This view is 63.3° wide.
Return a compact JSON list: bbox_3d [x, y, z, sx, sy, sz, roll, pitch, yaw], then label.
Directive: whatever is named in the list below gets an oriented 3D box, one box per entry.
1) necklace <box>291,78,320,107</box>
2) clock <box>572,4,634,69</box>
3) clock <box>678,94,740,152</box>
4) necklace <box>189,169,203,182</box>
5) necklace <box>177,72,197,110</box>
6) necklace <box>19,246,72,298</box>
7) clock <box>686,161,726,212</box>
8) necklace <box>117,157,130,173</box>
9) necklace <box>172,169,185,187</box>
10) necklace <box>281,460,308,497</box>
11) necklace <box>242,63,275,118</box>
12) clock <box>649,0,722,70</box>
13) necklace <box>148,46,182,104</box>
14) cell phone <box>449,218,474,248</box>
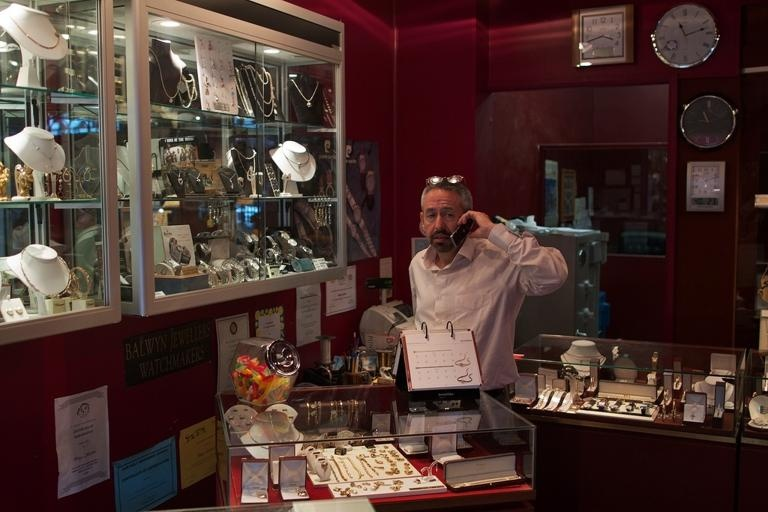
[{"bbox_3d":[-0.511,-1.019,3.875,0.060,0.140,0.228,-4,7,33],"label":"necklace"},{"bbox_3d":[1.790,-1.787,5.040,0.498,0.554,0.053,0,3,24],"label":"clock"},{"bbox_3d":[2.571,-1.072,4.949,0.405,0.419,0.083,-1,6,5],"label":"clock"},{"bbox_3d":[-0.999,-0.424,3.298,0.014,0.054,0.053,-9,-4,33],"label":"necklace"},{"bbox_3d":[-1.010,-0.865,3.204,0.035,0.156,0.108,9,14,37],"label":"necklace"},{"bbox_3d":[-1.484,0.076,2.709,0.097,0.143,0.173,5,24,13],"label":"necklace"},{"bbox_3d":[2.584,-0.566,4.975,0.370,0.572,0.074,0,0,14],"label":"clock"},{"bbox_3d":[-1.231,-0.430,2.934,0.049,0.096,0.054,3,3,6],"label":"necklace"},{"bbox_3d":[-1.059,-0.401,3.201,0.023,0.069,0.049,-3,10,24],"label":"necklace"},{"bbox_3d":[-0.373,0.915,2.550,0.117,0.154,0.086,-3,7,-11],"label":"necklace"},{"bbox_3d":[-0.705,-0.954,3.562,0.055,0.238,0.245,0,8,29],"label":"necklace"},{"bbox_3d":[2.376,-1.744,4.866,0.481,0.538,0.073,-3,5,21],"label":"clock"},{"bbox_3d":[-1.082,-0.894,3.051,0.078,0.198,0.281,3,18,13],"label":"necklace"},{"bbox_3d":[0.419,-0.139,3.430,0.186,0.095,0.043,-48,32,-6],"label":"cell phone"}]
